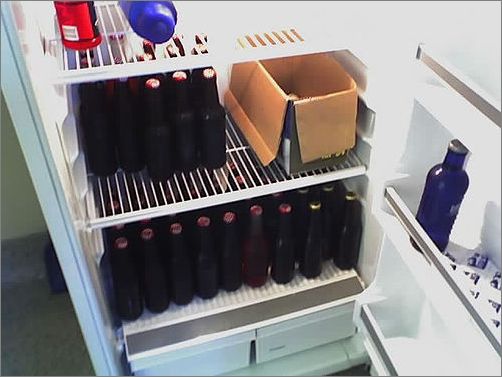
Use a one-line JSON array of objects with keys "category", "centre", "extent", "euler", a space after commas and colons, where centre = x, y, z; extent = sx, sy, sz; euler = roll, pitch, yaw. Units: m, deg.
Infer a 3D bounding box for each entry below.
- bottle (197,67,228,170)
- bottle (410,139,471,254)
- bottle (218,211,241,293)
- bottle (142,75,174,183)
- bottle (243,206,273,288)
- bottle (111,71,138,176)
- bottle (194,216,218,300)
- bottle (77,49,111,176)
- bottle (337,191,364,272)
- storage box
[{"category": "bottle", "centre": [-0.126, -0.226, 1.275], "extent": [0.092, 0.334, 0.103], "euler": [-12, 43, -14]}, {"category": "bottle", "centre": [0.473, 0.018, 0.984], "extent": [0.105, 0.309, 0.093], "euler": [3, 26, 8]}, {"category": "bottle", "centre": [-0.082, 0.225, 1.521], "extent": [0.082, 0.342, 0.090], "euler": [-3, 40, -5]}, {"category": "bottle", "centre": [-0.290, -0.170, 1.233], "extent": [0.081, 0.320, 0.040], "euler": [-8, 26, -14]}, {"category": "bottle", "centre": [0.023, 0.210, 1.541], "extent": [0.100, 0.354, 0.105], "euler": [1, 41, -1]}, {"category": "bottle", "centre": [-0.382, -0.186, 1.236], "extent": [0.075, 0.290, 0.035], "euler": [-9, 27, -17]}, {"category": "bottle", "centre": [-0.169, 0.243, 1.502], "extent": [0.094, 0.368, 0.093], "euler": [0, 37, 0]}, {"category": "bottle", "centre": [-0.467, -0.175, 1.227], "extent": [0.085, 0.295, 0.052], "euler": [-11, 27, -19]}, {"category": "bottle", "centre": [0.382, 0.152, 1.557], "extent": [0.095, 0.333, 0.100], "euler": [-2, 44, 2]}, {"category": "storage box", "centre": [0.127, -0.291, 1.461], "extent": [0.322, 0.274, 0.458], "euler": [-9, 36, -17]}]
